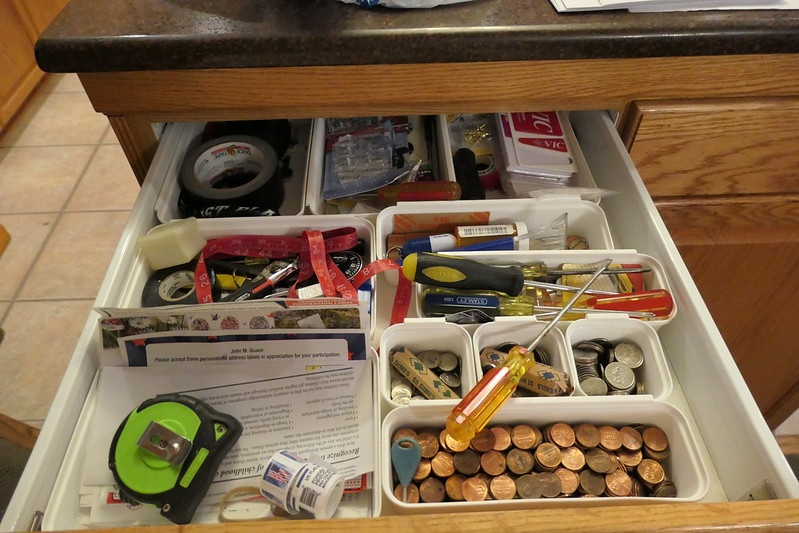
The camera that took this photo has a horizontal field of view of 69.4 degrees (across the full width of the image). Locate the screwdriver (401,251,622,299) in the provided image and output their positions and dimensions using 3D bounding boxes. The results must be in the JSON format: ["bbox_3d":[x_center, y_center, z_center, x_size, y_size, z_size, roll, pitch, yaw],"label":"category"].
[{"bbox_3d":[0.246,0.016,1.235,0.501,0.089,0.069,5,86,-3],"label":"screwdriver"}]

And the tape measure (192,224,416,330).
[{"bbox_3d":[-0.239,0.019,1.338,0.404,0.074,0.213,-13,60,-17],"label":"tape measure"}]

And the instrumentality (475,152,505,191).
[{"bbox_3d":[0.236,-0.241,1.481,0.113,0.041,0.089,-3,57,2],"label":"instrumentality"}]

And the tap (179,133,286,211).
[{"bbox_3d":[-0.394,-0.234,1.391,0.242,0.128,0.193,-5,59,-1],"label":"tap"}]

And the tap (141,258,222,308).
[{"bbox_3d":[-0.499,0.041,1.264,0.135,0.041,0.109,-11,50,-6],"label":"tap"}]

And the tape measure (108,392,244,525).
[{"bbox_3d":[-0.421,0.340,1.062,0.194,0.120,0.197,20,54,20],"label":"tape measure"}]

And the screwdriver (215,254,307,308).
[{"bbox_3d":[-0.279,0.037,1.308,0.228,0.052,0.079,-28,44,-26],"label":"screwdriver"}]
